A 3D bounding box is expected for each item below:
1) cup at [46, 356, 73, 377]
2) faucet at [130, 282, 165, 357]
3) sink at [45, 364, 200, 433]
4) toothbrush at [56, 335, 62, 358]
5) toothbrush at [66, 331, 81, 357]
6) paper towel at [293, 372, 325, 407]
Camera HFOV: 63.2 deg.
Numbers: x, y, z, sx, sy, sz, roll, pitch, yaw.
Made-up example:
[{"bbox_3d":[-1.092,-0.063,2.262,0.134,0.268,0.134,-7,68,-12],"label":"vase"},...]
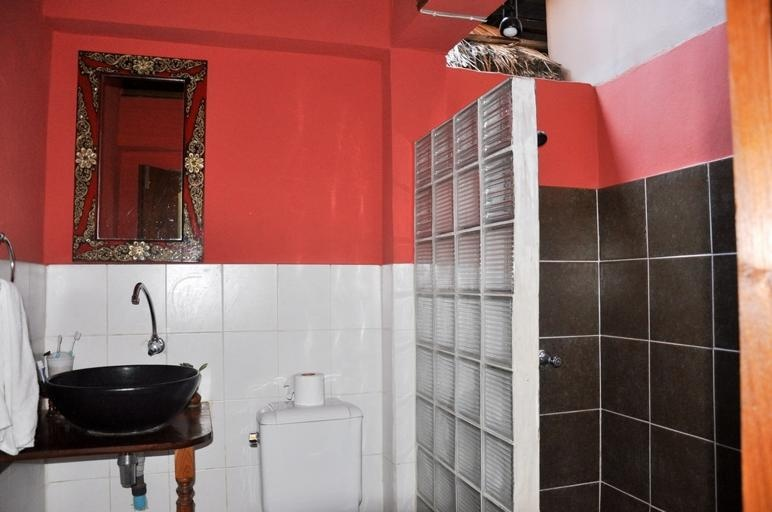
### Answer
[{"bbox_3d":[-1.663,0.572,3.221,0.096,0.107,0.108,0,-9,0],"label":"cup"},{"bbox_3d":[-1.273,0.347,3.367,0.166,0.416,0.262,-1,-2,-21],"label":"faucet"},{"bbox_3d":[-1.262,0.704,3.052,0.676,0.289,0.538,-2,-2,-16],"label":"sink"},{"bbox_3d":[-1.730,0.483,3.310,0.020,0.092,0.007,1,-22,2],"label":"toothbrush"},{"bbox_3d":[-1.679,0.474,3.357,0.031,0.140,0.019,18,-9,-11],"label":"toothbrush"},{"bbox_3d":[-0.426,0.749,3.498,0.183,0.166,0.182,4,-7,-41],"label":"paper towel"}]
